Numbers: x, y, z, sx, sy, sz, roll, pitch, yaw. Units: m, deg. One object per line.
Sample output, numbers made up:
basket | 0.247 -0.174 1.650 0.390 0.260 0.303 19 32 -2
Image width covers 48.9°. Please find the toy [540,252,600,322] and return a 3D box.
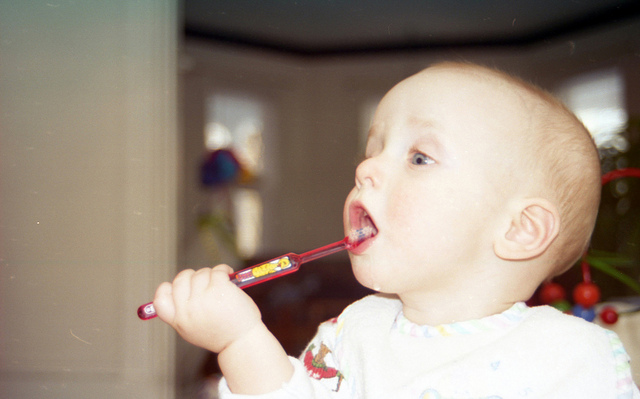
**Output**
toy | 0.706 0.268 1.986 0.176 0.178 0.064 0 -3 23
